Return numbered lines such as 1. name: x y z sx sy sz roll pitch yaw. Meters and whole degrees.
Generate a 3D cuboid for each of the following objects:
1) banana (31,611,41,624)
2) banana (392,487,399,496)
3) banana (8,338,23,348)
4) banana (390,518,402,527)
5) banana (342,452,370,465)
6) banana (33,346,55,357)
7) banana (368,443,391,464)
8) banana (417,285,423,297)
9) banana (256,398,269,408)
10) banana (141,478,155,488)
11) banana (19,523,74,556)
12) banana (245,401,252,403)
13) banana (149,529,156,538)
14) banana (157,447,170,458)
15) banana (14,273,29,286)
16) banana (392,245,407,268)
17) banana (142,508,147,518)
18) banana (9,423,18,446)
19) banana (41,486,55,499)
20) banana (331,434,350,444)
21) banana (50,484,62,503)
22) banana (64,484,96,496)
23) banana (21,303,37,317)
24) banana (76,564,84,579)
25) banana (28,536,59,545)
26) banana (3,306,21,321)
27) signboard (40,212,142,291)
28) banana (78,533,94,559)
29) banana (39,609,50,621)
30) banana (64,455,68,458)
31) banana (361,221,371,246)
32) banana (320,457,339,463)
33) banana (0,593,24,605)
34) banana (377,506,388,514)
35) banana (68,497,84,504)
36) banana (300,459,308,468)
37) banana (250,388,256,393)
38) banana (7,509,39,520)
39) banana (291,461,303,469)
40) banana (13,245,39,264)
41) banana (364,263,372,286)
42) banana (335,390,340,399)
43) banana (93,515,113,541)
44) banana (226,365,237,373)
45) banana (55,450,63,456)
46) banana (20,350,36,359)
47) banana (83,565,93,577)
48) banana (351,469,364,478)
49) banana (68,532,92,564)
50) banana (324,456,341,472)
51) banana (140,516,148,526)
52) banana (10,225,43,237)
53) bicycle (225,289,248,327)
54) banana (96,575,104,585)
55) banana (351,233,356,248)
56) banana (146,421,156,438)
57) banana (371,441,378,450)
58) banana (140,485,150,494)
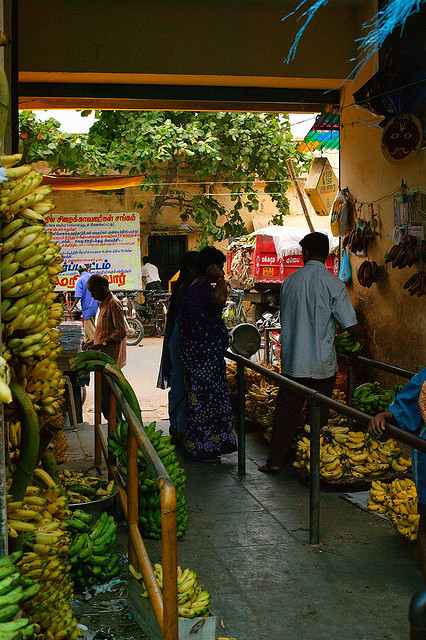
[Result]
1. banana: -0.579 0.963 1.615 0.026 0.024 0.086 -1 -28 -21
2. banana: 1.211 1.150 3.334 0.032 0.033 0.049 -44 5 12
3. banana: -0.559 0.065 1.399 0.031 0.018 0.024 -9 -20 40
4. banana: 1.151 1.277 3.158 0.017 0.029 0.054 -21 59 -37
5. banana: 1.160 1.139 4.065 0.175 0.087 0.066 -2 -9 3
6. banana: -0.506 0.093 1.487 0.024 0.020 0.075 -42 -8 5
7. banana: 1.347 1.111 4.168 0.253 0.092 0.057 25 -5 15
8. banana: 1.873 -0.260 4.522 0.021 0.074 0.052 3 -2 1
9. banana: 0.580 0.988 5.925 0.120 0.109 0.088 6 -5 2
10. banana: -0.418 1.035 3.171 0.080 0.045 0.061 26 -21 1
11. banana: -0.564 0.757 1.755 0.088 0.094 0.250 -5 -14 15
12. banana: 0.427 0.999 6.097 0.067 0.016 0.067 0 1 -1
13. banana: -0.403 1.378 3.231 0.024 0.049 0.018 5 15 10
14. banana: -0.338 0.884 3.357 0.119 0.032 0.039 -27 4 -8
15. banana: -0.528 -0.110 1.360 0.020 0.022 0.067 -4 -10 -28
16. banana: 1.743 -0.593 4.701 0.087 0.242 0.055 29 13 -23
17. banana: -0.448 1.245 3.215 0.028 0.052 0.012 -4 -1 19
18. banana: -0.628 0.362 1.572 0.017 0.065 0.022 -7 -1 30
19. banana: -0.675 0.698 2.037 0.024 0.083 0.027 37 27 -3
20. banana: 1.104 1.037 4.332 0.154 0.053 0.043 27 -20 14
21. banana: -0.649 0.715 2.048 0.020 0.073 0.025 21 7 -25
22. banana: -0.830 1.059 3.115 0.219 0.073 0.066 8 -20 8
23. banana: -0.512 -0.027 1.382 0.018 0.033 0.011 17 37 12
24. banana: -0.703 1.316 2.617 0.034 0.072 0.026 0 -4 1
25. banana: -0.576 0.747 1.697 0.110 0.030 0.038 1 -8 -11
26. banana: -0.552 -0.018 1.361 0.025 0.048 0.016 43 4 18
27. signboard: -2.102 -1.279 9.038 2.159 1.830 0.230 1 3 -5
28. banana: -0.664 1.179 2.586 0.066 0.037 0.126 27 0 -6
29. banana: -0.572 0.990 1.677 0.025 0.027 0.087 20 -37 -33
30. banana: -1.486 1.361 4.984 0.014 0.037 0.038 -7 7 18
31. banana: 1.627 -0.916 5.366 0.045 0.202 0.192 9 -2 4
32. banana: 0.934 1.140 4.068 0.137 0.077 0.047 3 -28 -10
33. banana: -0.415 0.581 1.033 0.044 0.012 0.033 1 0 -33
34. banana: 1.124 1.260 3.310 0.061 0.067 0.066 0 0 20
35. banana: -0.818 1.068 2.948 0.080 0.014 0.078 1 0 -19
36. banana: 0.753 1.209 4.204 0.055 0.053 0.016 2 0 36
37. banana: 0.498 0.893 6.339 0.041 0.037 0.016 -28 -22 28
38. banana: -0.574 0.582 1.492 0.105 0.028 0.033 6 -34 -31
39. banana: 0.713 1.238 4.250 0.085 0.042 0.025 29 -46 -21
40. banana: -0.522 -0.185 1.385 0.066 0.051 0.027 1 -1 -22
41. banana: 1.648 -0.488 5.324 0.040 0.218 0.057 0 -6 43
42. banana: 1.430 0.866 5.769 0.041 0.071 0.019 -7 -23 21
43. banana: -0.630 1.177 2.833 0.025 0.118 0.038 32 -20 1
44. banana: 0.233 0.676 6.736 0.109 0.027 0.116 12 7 -1
45. banana: -1.504 1.288 4.846 0.025 0.064 0.072 0 -1 32
46. banana: -0.530 0.099 1.416 0.023 0.017 0.064 -13 -5 -2
47. banana: -0.665 1.312 2.621 0.041 0.052 0.015 -10 3 5
48. banana: 1.156 1.246 4.022 0.115 0.036 0.041 34 1 7
49. banana: -0.686 1.184 2.589 0.041 0.102 0.101 30 23 0
50. banana: 0.968 1.184 4.043 0.186 0.050 0.059 -43 2 -23
51. banana: -0.446 1.279 3.181 0.040 0.054 0.018 -7 21 22
52. banana: -0.545 -0.252 1.427 0.101 0.027 0.034 -7 9 11
53. bicycle: 0.635 -0.339 14.407 0.616 1.089 1.253 1 0 4
54. banana: -0.607 1.389 2.665 0.035 0.042 0.023 -18 -3 -36
55. banana: 1.550 -0.877 5.531 0.023 0.153 0.071 1 -1 -9
56. banana: -0.421 0.724 3.299 0.049 0.170 0.049 8 28 -15
57. banana: 1.387 1.076 4.291 0.040 0.022 0.079 -16 20 19
58. banana: -0.439 1.077 3.177 0.049 0.027 0.048 11 -8 -32
